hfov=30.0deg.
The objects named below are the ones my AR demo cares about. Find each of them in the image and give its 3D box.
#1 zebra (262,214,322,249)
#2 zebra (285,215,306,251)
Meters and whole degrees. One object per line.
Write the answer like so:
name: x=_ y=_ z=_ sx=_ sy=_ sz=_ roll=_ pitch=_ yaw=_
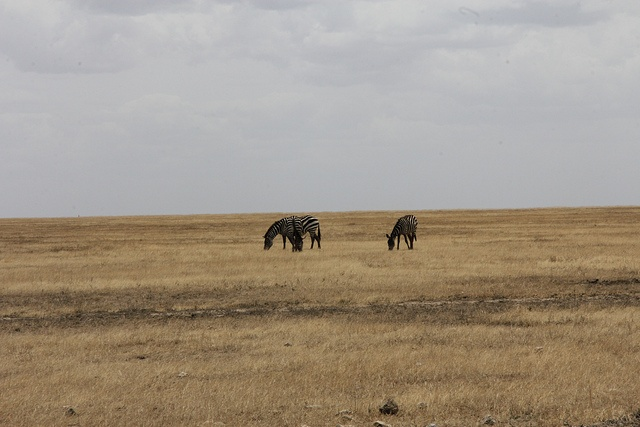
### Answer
zebra: x=-1.738 y=1.265 z=71.488 sx=3.729 sy=2.089 sz=0.995 roll=-7 pitch=6 yaw=-19
zebra: x=-1.563 y=1.232 z=69.934 sx=1.080 sy=1.503 sz=3.214 roll=1 pitch=11 yaw=-2
